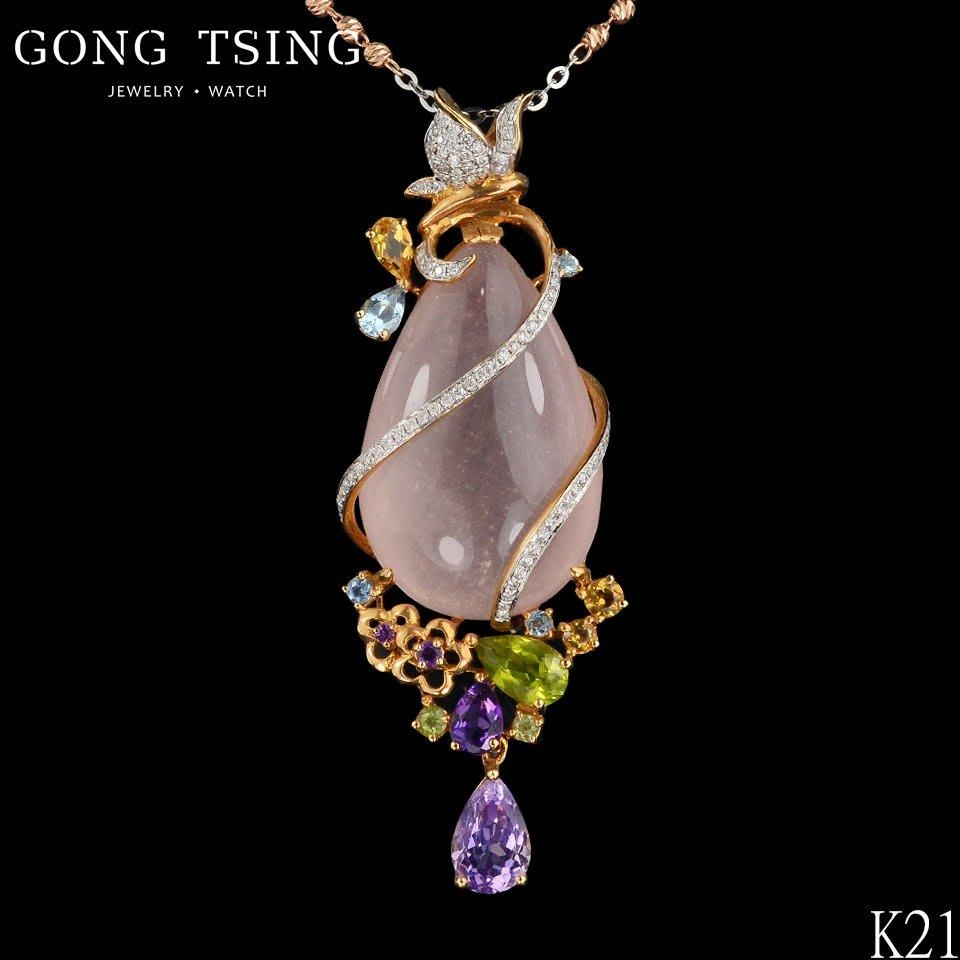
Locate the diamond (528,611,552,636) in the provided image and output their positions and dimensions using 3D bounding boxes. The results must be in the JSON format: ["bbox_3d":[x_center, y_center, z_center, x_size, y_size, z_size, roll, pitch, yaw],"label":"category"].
[{"bbox_3d":[0.167,0.403,3.926,0.061,0.070,0.036,-3,8,-10],"label":"diamond"}]
